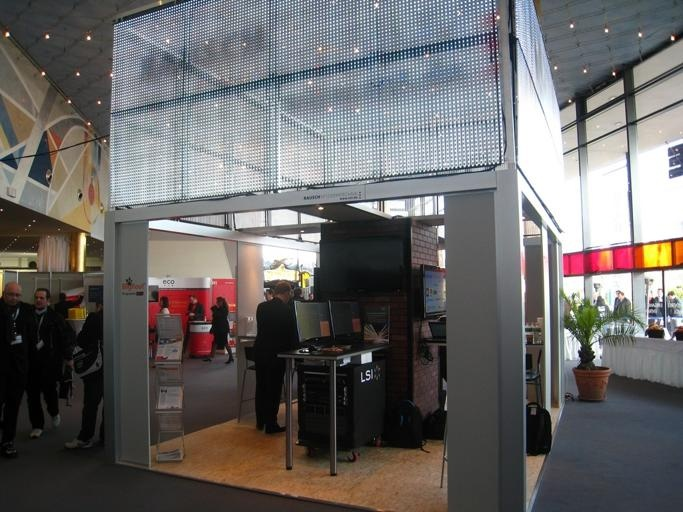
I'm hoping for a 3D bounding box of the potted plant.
[{"bbox_3d":[4.283,1.530,9.203,1.488,1.832,1.439,3,-6,20],"label":"potted plant"}]

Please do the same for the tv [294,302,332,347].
[{"bbox_3d":[-0.325,0.791,6.451,0.050,0.406,0.495,-12,-9,27],"label":"tv"}]

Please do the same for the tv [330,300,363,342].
[{"bbox_3d":[0.039,0.834,6.929,0.048,0.374,0.467,-10,-9,28],"label":"tv"}]

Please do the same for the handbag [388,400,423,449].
[{"bbox_3d":[0.743,2.039,6.650,0.377,0.524,0.249,-3,-14,14],"label":"handbag"}]

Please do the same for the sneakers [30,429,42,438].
[{"bbox_3d":[-3.881,2.265,7.084,0.071,0.059,0.136,2,-11,-12],"label":"sneakers"}]

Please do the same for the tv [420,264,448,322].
[{"bbox_3d":[1.164,0.492,7.202,0.100,0.643,0.674,-2,-4,25],"label":"tv"}]

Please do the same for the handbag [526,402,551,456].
[{"bbox_3d":[2.216,1.988,6.409,0.360,0.643,0.198,-1,3,-32],"label":"handbag"}]

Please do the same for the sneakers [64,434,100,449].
[{"bbox_3d":[-3.129,2.250,6.754,0.364,0.174,0.147,6,-8,-12],"label":"sneakers"}]

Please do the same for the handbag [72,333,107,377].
[{"bbox_3d":[-3.016,1.223,6.659,0.304,0.457,0.157,-11,-29,8],"label":"handbag"}]
